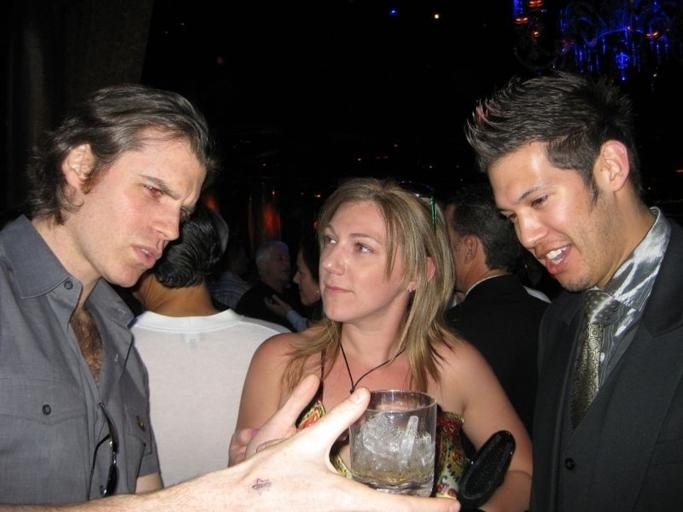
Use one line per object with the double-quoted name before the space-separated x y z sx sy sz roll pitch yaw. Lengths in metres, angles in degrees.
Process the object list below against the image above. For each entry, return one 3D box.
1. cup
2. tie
"cup" 0.203 0.675 2.157 0.385 0.415 0.387 2 -6 0
"tie" 1.209 0.476 2.700 0.197 0.693 0.105 -5 -23 42
